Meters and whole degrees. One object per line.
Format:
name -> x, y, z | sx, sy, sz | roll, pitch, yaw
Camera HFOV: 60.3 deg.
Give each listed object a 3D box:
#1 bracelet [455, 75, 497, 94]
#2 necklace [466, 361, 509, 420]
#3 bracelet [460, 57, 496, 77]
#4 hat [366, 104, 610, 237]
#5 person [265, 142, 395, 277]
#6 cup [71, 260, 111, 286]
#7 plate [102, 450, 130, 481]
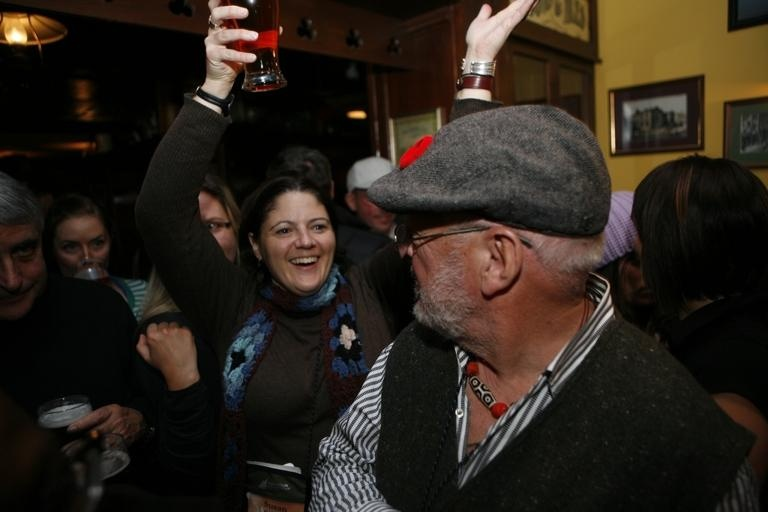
bracelet -> 0.410, -0.760, 2.916 | 0.167, 0.072, 0.121 | -2, 12, -11
necklace -> 0.350, 0.478, 2.349 | 0.080, 0.234, 0.071 | -29, -24, -8
bracelet -> 0.423, -0.822, 2.915 | 0.106, 0.067, 0.088 | 0, 3, -5
hat -> 0.418, -0.275, 2.300 | 0.562, 0.279, 0.437 | 8, 6, 12
person -> -0.158, -0.382, 4.540 | 0.624, 0.457, 1.023 | -17, 39, -36
cup -> -1.344, 0.070, 3.078 | 0.116, 0.091, 0.082 | -5, -4, 20
plate -> -1.025, 0.788, 2.538 | 0.085, 0.077, 0.155 | -4, 13, -20
